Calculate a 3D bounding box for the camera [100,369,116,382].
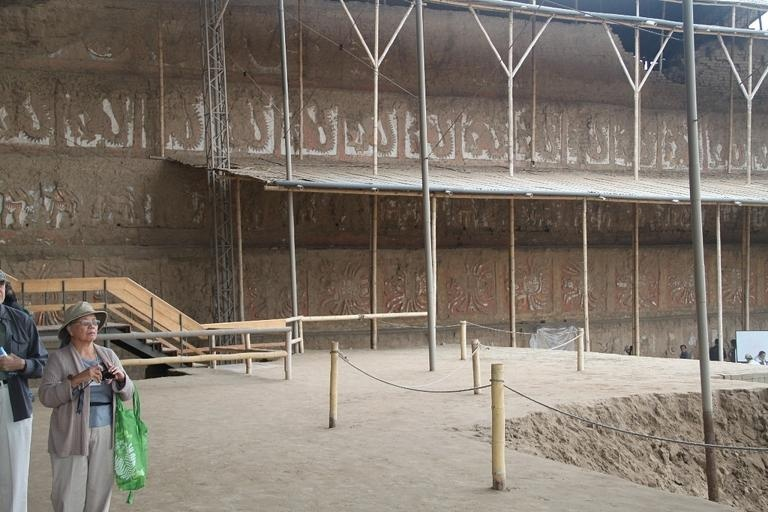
[{"bbox_3d":[-6.794,2.909,36.772,0.209,0.126,0.288,2,10,-45],"label":"camera"}]
